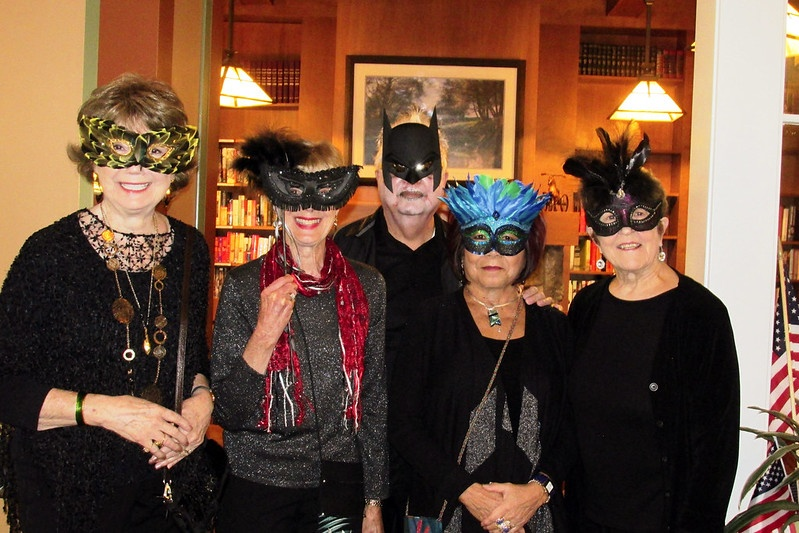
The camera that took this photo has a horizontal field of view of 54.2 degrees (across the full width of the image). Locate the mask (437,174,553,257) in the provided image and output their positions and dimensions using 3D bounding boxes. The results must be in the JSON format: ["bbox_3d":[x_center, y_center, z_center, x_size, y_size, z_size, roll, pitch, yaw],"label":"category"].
[{"bbox_3d":[0.422,-0.231,3.476,0.630,0.449,0.314,0,9,-2],"label":"mask"}]

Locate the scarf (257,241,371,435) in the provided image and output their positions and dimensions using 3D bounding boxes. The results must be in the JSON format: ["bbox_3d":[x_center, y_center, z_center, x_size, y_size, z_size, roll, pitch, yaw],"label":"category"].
[{"bbox_3d":[-0.317,0.304,3.202,0.456,0.760,0.182,3,-11,-15],"label":"scarf"}]

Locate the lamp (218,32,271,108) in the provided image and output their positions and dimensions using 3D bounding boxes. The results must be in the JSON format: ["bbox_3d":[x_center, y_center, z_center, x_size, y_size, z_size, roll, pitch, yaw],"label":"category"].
[{"bbox_3d":[-1.270,-1.539,6.453,0.562,0.636,0.589,-2,-4,-2],"label":"lamp"}]

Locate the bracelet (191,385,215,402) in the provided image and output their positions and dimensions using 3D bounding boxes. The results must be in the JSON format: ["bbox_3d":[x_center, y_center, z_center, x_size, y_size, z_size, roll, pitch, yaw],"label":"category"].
[{"bbox_3d":[-0.801,0.513,3.189,0.072,0.022,0.072,-2,33,-44],"label":"bracelet"}]

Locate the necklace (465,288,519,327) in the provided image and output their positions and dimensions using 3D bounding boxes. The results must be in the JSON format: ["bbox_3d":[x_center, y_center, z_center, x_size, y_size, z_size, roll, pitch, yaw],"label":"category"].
[{"bbox_3d":[0.426,0.187,3.502,0.173,0.018,0.241,-7,44,9],"label":"necklace"}]

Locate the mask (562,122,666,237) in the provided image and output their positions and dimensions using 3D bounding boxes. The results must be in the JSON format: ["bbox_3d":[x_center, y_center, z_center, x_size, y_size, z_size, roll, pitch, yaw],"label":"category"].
[{"bbox_3d":[0.966,-0.354,3.449,0.390,0.476,0.185,-9,-18,5],"label":"mask"}]
